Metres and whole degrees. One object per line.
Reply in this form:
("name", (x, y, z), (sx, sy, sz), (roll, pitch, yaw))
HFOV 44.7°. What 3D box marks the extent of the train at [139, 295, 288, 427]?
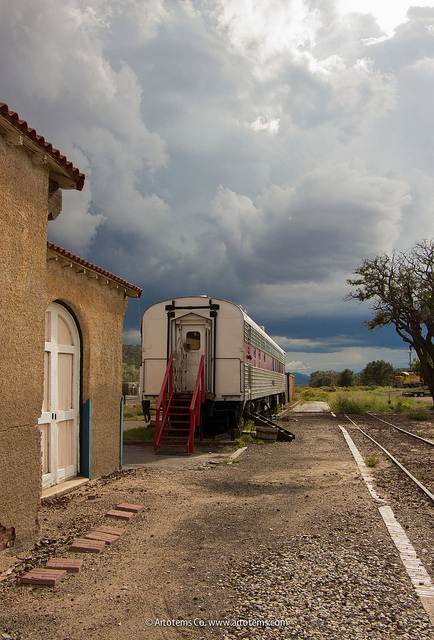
("train", (0.122, 1.355, 16.989), (2.250, 2.812, 7.496), (-2, -7, 12))
